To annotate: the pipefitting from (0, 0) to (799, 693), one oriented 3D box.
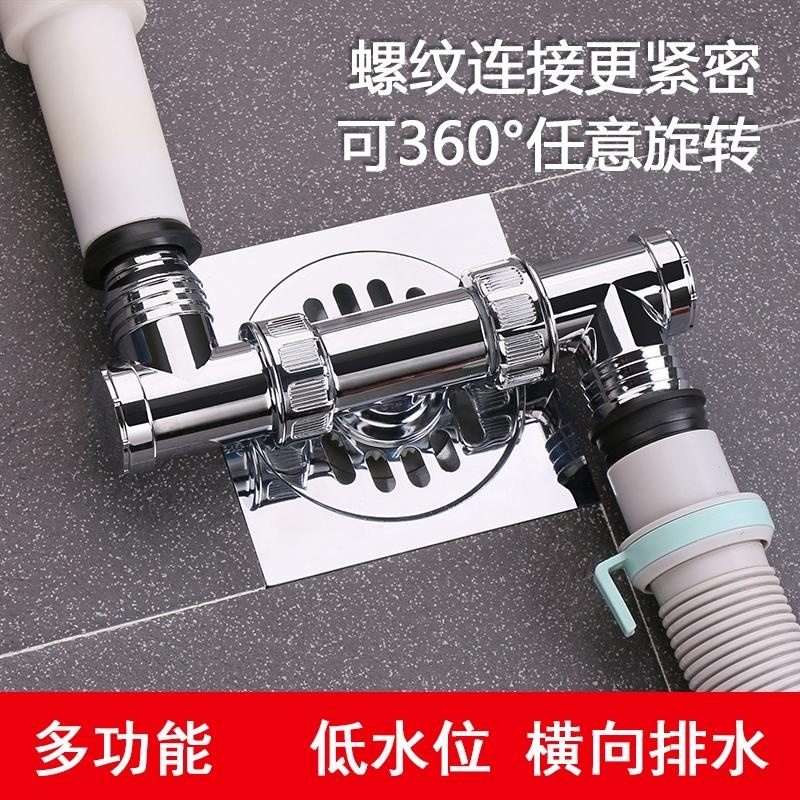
[{"bbox_3d":[-0.045,0.002,0.757,0.517,0.206,0.637,-16,76,-4],"label":"pipefitting"}]
